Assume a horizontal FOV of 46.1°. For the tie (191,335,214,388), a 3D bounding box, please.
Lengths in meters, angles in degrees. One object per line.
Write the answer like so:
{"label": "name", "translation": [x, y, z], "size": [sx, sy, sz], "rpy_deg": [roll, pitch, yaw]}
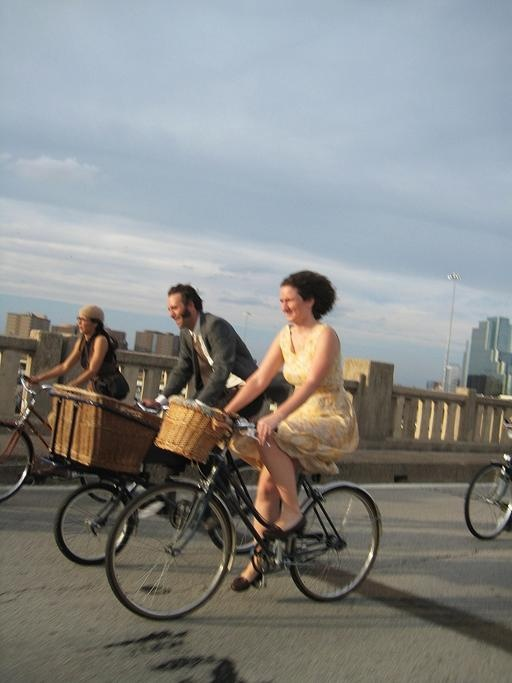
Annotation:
{"label": "tie", "translation": [-0.349, 0.129, 3.926], "size": [0.069, 0.281, 0.203], "rpy_deg": [-27, 14, -5]}

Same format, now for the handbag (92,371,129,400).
{"label": "handbag", "translation": [-1.120, 0.331, 4.600], "size": [0.160, 0.231, 0.237], "rpy_deg": [-32, -12, 34]}

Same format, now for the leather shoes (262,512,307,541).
{"label": "leather shoes", "translation": [0.162, 0.941, 3.058], "size": [0.081, 0.122, 0.265], "rpy_deg": [3, -5, 43]}

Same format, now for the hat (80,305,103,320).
{"label": "hat", "translation": [-1.310, -0.236, 4.819], "size": [0.181, 0.097, 0.166], "rpy_deg": [7, -4, -21]}

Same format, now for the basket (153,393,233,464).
{"label": "basket", "translation": [-0.312, 0.365, 2.851], "size": [0.313, 0.227, 0.313], "rpy_deg": [15, -13, 44]}

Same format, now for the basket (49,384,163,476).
{"label": "basket", "translation": [-0.759, 0.459, 2.990], "size": [0.383, 0.278, 0.480], "rpy_deg": [-1, -18, 40]}

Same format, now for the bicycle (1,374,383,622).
{"label": "bicycle", "translation": [-0.252, 0.917, 3.419], "size": [2.088, 1.167, 0.936], "rpy_deg": [13, -10, -24]}
